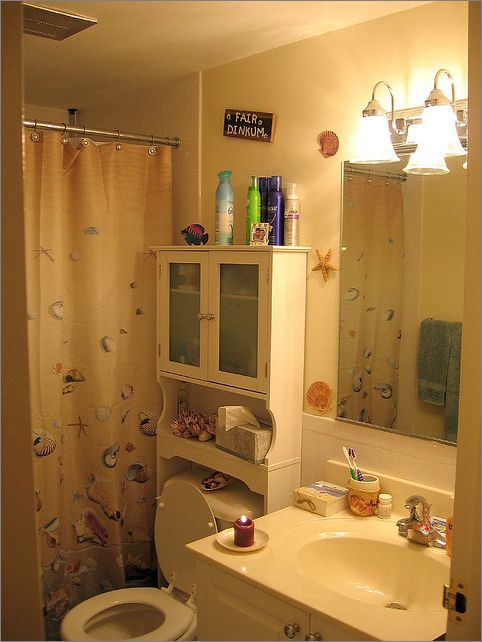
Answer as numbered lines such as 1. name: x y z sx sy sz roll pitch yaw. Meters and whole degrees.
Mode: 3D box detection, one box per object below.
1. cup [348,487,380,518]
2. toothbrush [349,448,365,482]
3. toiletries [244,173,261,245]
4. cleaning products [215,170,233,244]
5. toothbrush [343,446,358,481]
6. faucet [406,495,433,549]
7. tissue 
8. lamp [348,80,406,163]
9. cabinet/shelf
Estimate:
1. cup: 0.373 0.553 1.641 0.084 0.063 0.079 2 1 0
2. toothbrush: 0.367 0.462 1.714 0.031 0.119 0.009 -15 -43 21
3. toiletries: 0.049 -0.411 1.968 0.049 0.226 0.103 2 6 0
4. cleaning products: -0.063 -0.434 2.075 0.072 0.282 0.227 2 6 -2
5. toothbrush: 0.350 0.457 1.720 0.034 0.134 0.011 -14 -30 18
6. faucet: 0.510 0.541 1.479 0.106 0.105 0.069 2 2 23
7. tissue : 0.017 0.397 1.950 0.134 0.173 0.231 0 6 -42
8. lamp: 0.392 -0.583 1.556 0.148 0.249 0.132 -3 6 -17
9. cabinet/shelf: -0.057 0.237 2.093 0.245 1.042 0.697 -3 7 -41
